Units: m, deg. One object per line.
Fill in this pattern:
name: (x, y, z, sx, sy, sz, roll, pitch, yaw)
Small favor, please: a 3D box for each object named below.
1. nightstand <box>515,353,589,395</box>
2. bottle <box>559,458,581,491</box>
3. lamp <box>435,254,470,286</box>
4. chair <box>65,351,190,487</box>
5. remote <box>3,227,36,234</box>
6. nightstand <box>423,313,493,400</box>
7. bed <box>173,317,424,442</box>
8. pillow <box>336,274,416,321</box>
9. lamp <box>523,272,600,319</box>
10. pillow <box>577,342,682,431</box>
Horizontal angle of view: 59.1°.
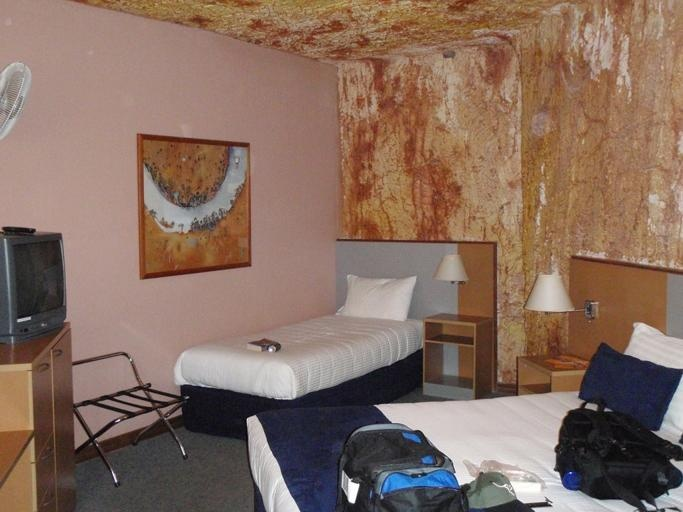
nightstand: (1.773, 1.005, 5.168, 0.360, 0.450, 0.477, 1, -1, 4)
bottle: (1.249, 1.200, 3.267, 0.092, 0.131, 0.133, -2, -17, 11)
lamp: (1.145, 0.147, 6.353, 0.298, 0.276, 0.296, -3, 8, -28)
chair: (-1.777, 1.275, 4.840, 0.824, 0.794, 0.975, 7, 4, 36)
remote: (-2.100, -0.163, 3.896, 0.198, 0.044, 0.081, -4, 10, -39)
nightstand: (1.197, 1.052, 6.271, 0.576, 0.787, 0.427, 1, 4, 34)
bed: (-0.155, 1.011, 5.521, 0.980, 0.552, 1.723, 1, 1, 35)
pillow: (0.364, 0.478, 6.847, 1.016, 0.404, 0.425, -3, 10, 45)
lamp: (1.826, 0.331, 4.966, 0.521, 0.308, 0.401, 3, 1, 17)
pillow: (1.922, 0.871, 3.970, 0.186, 0.436, 0.648, 26, 0, -20)
